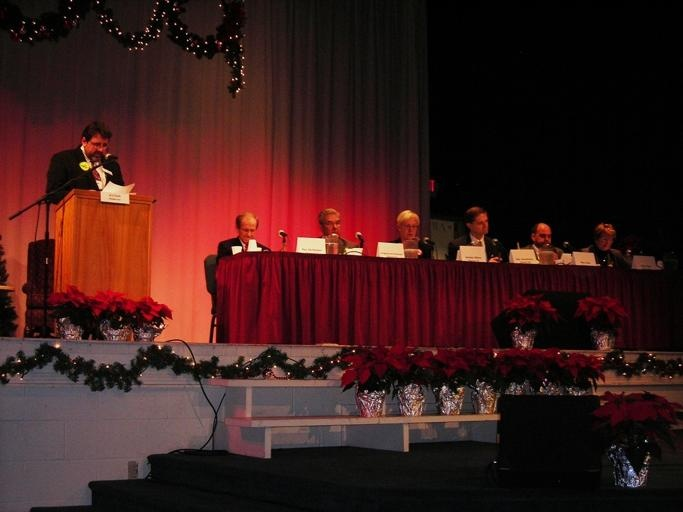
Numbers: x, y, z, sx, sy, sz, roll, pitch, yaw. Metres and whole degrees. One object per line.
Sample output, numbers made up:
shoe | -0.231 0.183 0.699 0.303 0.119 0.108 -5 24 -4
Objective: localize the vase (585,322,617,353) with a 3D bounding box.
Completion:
vase | 2.463 0.764 8.269 0.267 0.270 0.244 7 -10 -27

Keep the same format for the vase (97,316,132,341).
vase | -1.809 0.584 7.065 0.212 0.148 0.198 0 -3 5

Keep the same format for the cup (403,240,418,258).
cup | 0.721 -0.064 8.947 0.182 0.194 0.176 1 2 0

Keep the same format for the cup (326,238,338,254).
cup | -0.079 -0.089 8.659 0.135 0.172 0.178 -1 -4 6

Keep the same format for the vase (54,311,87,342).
vase | -2.159 0.579 7.015 0.275 0.257 0.163 6 3 -29

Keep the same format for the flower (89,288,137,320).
flower | -1.801 0.404 7.029 0.266 0.113 0.258 7 10 2

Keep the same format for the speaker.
speaker | 1.398 1.177 5.718 0.674 0.563 0.328 -7 -18 29

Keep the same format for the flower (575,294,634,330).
flower | 2.458 0.500 8.263 0.391 0.226 0.390 -4 13 -9

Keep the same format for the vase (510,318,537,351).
vase | 1.667 0.713 8.086 0.233 0.245 0.269 3 -9 -14

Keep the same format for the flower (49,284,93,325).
flower | -2.117 0.398 6.969 0.323 0.319 0.143 1 -4 -15

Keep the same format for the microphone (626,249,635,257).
microphone | 3.324 -0.031 10.122 0.071 0.067 0.090 -1 -6 8

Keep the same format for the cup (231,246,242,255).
cup | -1.002 -0.053 8.517 0.101 0.073 0.091 1 -2 11

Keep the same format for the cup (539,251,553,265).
cup | 2.100 0.019 9.036 0.133 0.139 0.129 1 -8 0

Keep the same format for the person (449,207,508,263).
person | 1.503 -0.156 9.785 0.779 0.719 0.399 -1 -1 -33

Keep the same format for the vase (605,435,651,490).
vase | 1.853 1.332 5.663 0.265 0.300 0.231 -1 -3 13

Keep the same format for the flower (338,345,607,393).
flower | 1.043 0.894 7.009 2.072 0.346 0.700 -1 -10 -8

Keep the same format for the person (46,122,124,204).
person | -2.305 -0.809 8.042 0.680 0.804 1.355 1 -3 -18

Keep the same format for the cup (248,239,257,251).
cup | -0.874 -0.101 8.792 0.124 0.112 0.120 0 -5 0
